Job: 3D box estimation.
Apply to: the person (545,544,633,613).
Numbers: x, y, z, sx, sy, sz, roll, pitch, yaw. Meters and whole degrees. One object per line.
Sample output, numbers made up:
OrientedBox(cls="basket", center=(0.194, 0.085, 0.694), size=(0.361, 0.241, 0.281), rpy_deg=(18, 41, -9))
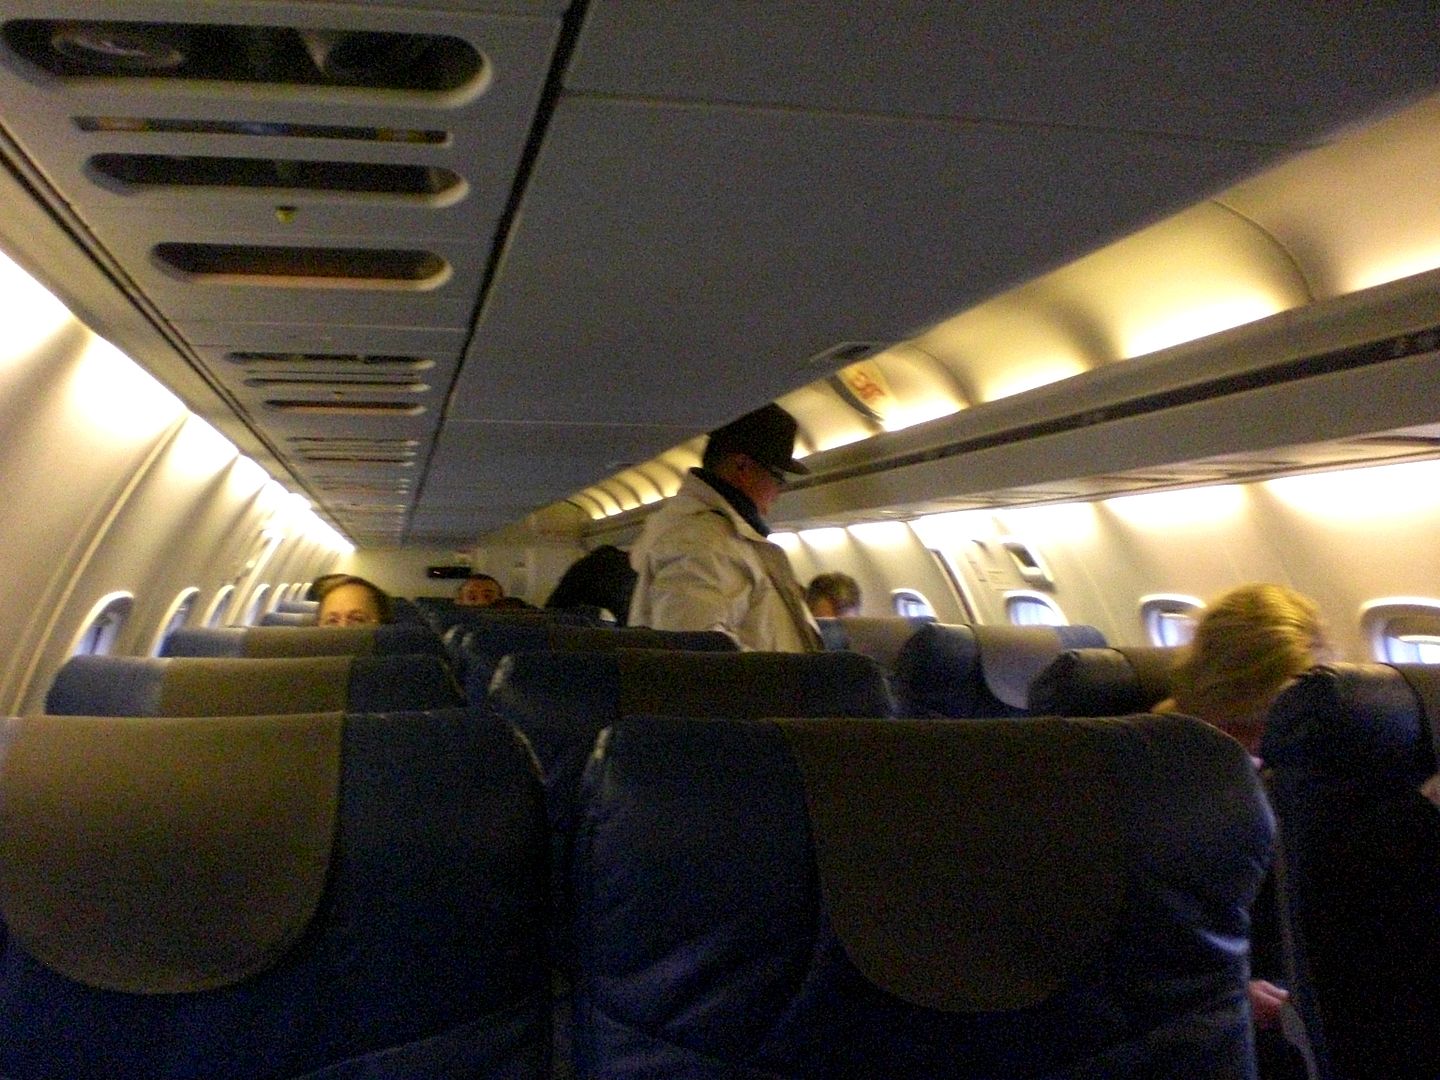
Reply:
OrientedBox(cls="person", center=(-0.808, 0.307, 6.459), size=(0.262, 0.433, 0.850), rpy_deg=(31, -21, -29))

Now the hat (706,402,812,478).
OrientedBox(cls="hat", center=(0.158, -0.400, 4.012), size=(0.445, 0.163, 0.286), rpy_deg=(-2, -1, 4))
